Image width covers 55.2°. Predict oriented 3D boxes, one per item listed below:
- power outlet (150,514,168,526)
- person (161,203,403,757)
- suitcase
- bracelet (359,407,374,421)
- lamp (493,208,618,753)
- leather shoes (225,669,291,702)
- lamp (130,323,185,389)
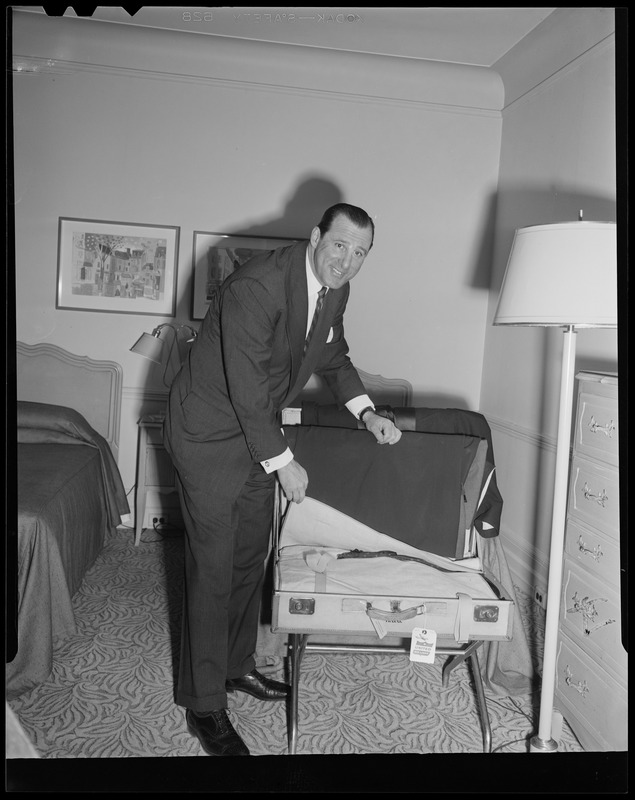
[{"bbox_3d":[-0.694,0.534,2.650,0.042,0.052,0.012,0,7,-2],"label":"power outlet"},{"bbox_3d":[-0.147,0.150,1.349,0.360,1.200,0.403,10,17,12],"label":"person"},{"bbox_3d":[0.163,0.149,1.290,0.405,0.359,0.471,2,11,0],"label":"suitcase"},{"bbox_3d":[0.120,0.033,1.455,0.023,0.022,0.025,2,-8,-26],"label":"bracelet"},{"bbox_3d":[0.424,0.173,1.123,0.222,0.811,0.201,3,2,38],"label":"lamp"},{"bbox_3d":[-0.133,0.669,1.465,0.182,0.095,0.072,0,1,0],"label":"leather shoes"},{"bbox_3d":[-0.688,-0.182,2.704,0.206,0.337,0.105,1,22,-45],"label":"lamp"}]
